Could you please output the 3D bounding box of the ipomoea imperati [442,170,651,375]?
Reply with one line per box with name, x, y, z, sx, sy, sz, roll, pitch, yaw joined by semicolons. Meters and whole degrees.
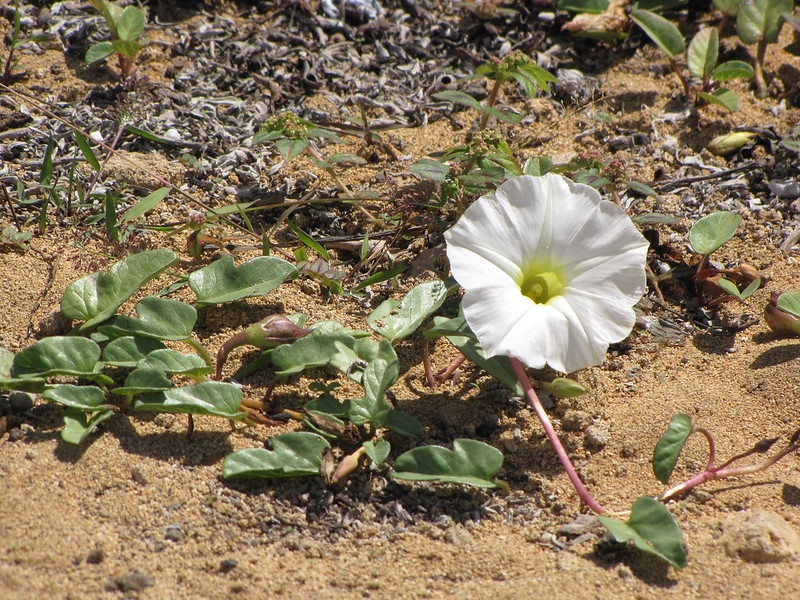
ipomoea imperati;0.602;-0.213;3.836;1.072;0.402;1.148;19;12;29
